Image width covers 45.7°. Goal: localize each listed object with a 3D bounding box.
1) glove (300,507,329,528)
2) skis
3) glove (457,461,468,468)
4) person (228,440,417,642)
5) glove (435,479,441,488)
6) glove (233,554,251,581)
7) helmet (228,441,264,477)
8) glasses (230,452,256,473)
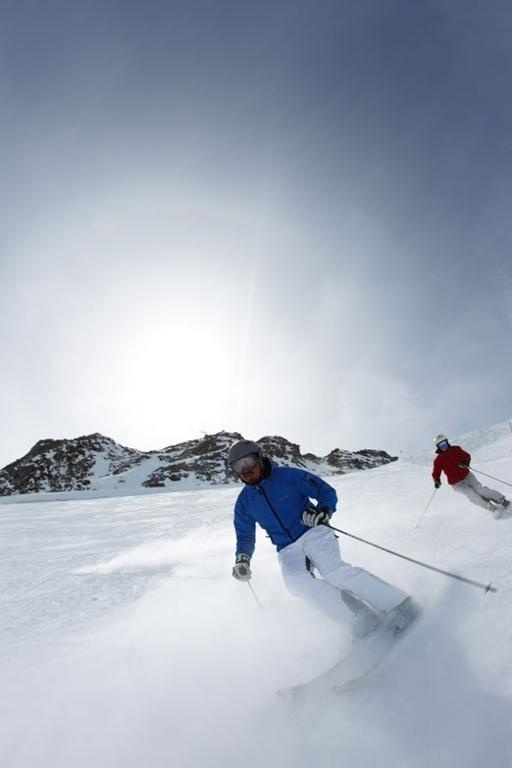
[{"bbox_3d":[0.540,1.228,5.581,0.247,0.193,0.293,0,-7,6],"label":"glove"},{"bbox_3d":[0.745,1.946,4.438,0.928,0.235,0.273,-28,-3,-29],"label":"skis"},{"bbox_3d":[3.567,1.389,10.531,0.156,0.091,0.172,-2,-8,24],"label":"glove"},{"bbox_3d":[0.419,1.221,5.362,0.873,1.465,2.280,5,-8,-26],"label":"person"},{"bbox_3d":[3.432,1.885,11.505,0.084,0.154,0.115,6,-34,-3],"label":"glove"},{"bbox_3d":[-0.138,1.755,5.818,0.173,0.230,0.093,-13,-26,-2],"label":"glove"},{"bbox_3d":[-0.097,0.732,5.979,0.311,0.348,0.374,-16,-21,6],"label":"helmet"},{"bbox_3d":[-0.126,0.756,5.812,0.163,0.104,0.202,-30,-10,23],"label":"glasses"}]
